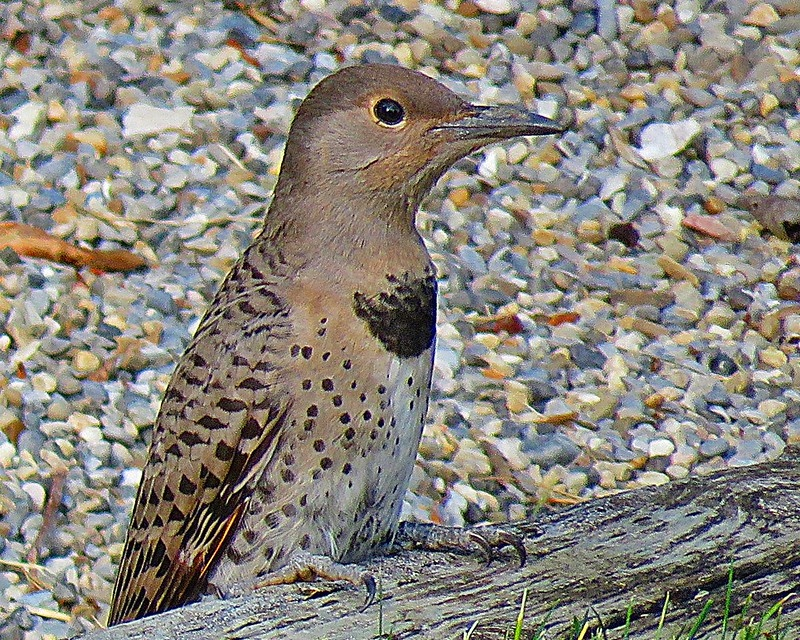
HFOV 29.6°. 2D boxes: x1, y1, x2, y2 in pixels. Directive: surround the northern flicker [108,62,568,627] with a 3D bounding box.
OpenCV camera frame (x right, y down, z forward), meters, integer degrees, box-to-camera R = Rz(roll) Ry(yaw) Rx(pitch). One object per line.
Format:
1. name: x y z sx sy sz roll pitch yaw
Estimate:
1. northern flicker: -0.341 0.062 5.023 1.221 1.909 1.442 -7 17 -19
